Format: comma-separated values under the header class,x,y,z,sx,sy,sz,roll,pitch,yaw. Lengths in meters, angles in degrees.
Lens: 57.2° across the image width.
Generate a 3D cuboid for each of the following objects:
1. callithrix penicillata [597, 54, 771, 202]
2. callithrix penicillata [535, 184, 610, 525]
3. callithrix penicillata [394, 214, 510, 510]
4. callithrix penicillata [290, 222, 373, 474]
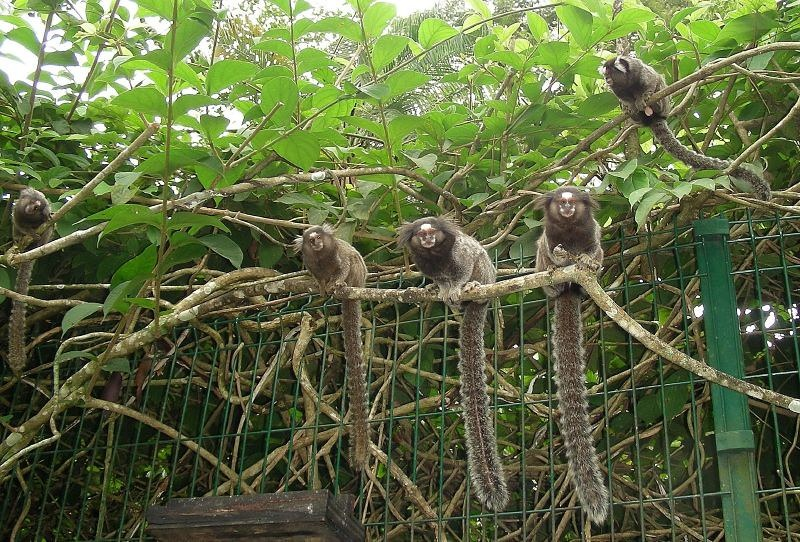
class,x,y,z,sx,sy,sz,roll,pitch,yaw
callithrix penicillata,2.258,-1.388,6.366,0.933,1.105,0.359,-1,-14,13
callithrix penicillata,1.319,0.544,5.649,0.527,2.589,0.868,0,-14,11
callithrix penicillata,0.436,0.666,5.972,0.831,2.366,0.678,3,-14,-1
callithrix penicillata,-0.582,0.561,6.420,0.695,2.211,0.628,5,-14,-9
